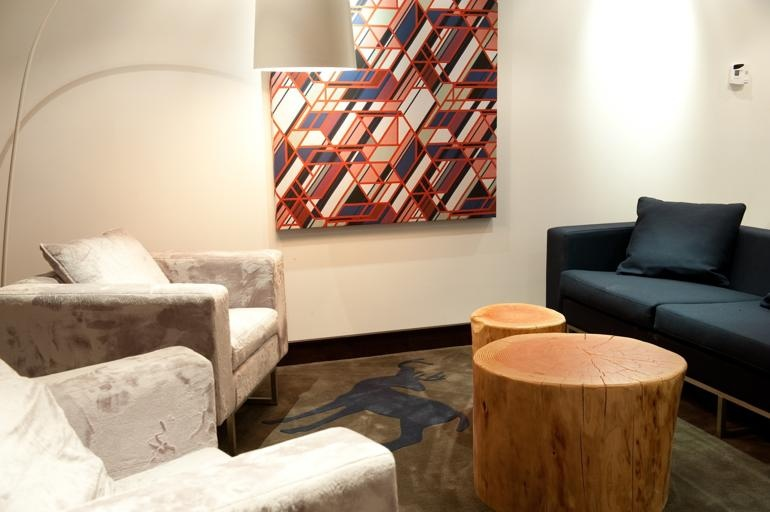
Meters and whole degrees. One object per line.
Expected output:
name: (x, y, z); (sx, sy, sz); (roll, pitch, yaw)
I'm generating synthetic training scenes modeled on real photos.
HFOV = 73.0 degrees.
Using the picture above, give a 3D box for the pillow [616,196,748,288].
pillow: (1.972, -0.077, 3.448); (0.667, 0.309, 0.509); (9, 49, 33)
